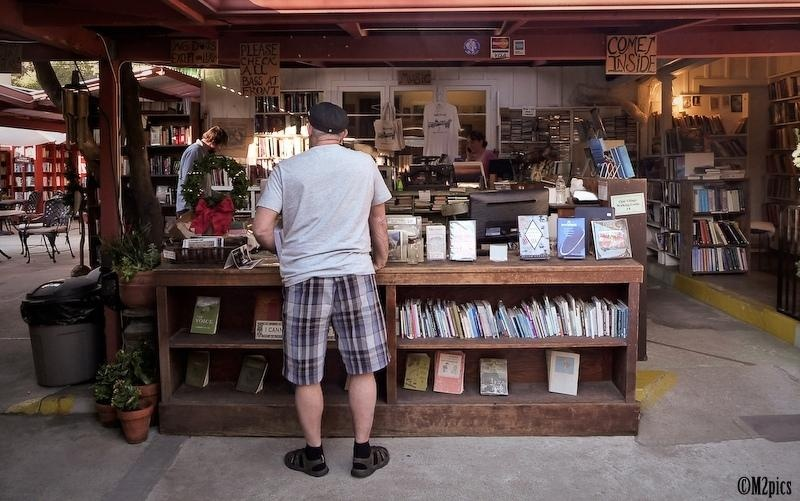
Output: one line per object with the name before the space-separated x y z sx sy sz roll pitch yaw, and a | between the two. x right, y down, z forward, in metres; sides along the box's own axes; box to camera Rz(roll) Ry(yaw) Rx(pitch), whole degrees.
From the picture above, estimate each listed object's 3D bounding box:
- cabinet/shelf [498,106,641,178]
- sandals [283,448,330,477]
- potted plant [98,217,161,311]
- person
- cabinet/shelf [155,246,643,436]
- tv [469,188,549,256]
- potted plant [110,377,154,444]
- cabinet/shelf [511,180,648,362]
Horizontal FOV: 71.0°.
cabinet/shelf | 2.699 -1.870 9.459 2.357 1.889 0.719 -1 1 1
sandals | -0.754 1.685 4.511 0.383 0.153 0.172 13 11 26
potted plant | -2.405 0.182 5.262 0.549 0.613 0.581 -5 -1 -4
person | -0.560 0.310 4.379 1.031 2.895 0.438 -3 8 -1
cabinet/shelf | -0.033 0.863 5.222 4.180 1.313 0.981 -1 -2 4
tv | 0.984 -0.258 5.042 0.641 0.516 0.234 -2 23 -1
potted plant | -2.286 1.374 4.814 0.324 0.527 0.218 -5 8 -18
cabinet/shelf | 1.581 0.192 5.037 0.613 1.540 1.760 -2 9 -2
